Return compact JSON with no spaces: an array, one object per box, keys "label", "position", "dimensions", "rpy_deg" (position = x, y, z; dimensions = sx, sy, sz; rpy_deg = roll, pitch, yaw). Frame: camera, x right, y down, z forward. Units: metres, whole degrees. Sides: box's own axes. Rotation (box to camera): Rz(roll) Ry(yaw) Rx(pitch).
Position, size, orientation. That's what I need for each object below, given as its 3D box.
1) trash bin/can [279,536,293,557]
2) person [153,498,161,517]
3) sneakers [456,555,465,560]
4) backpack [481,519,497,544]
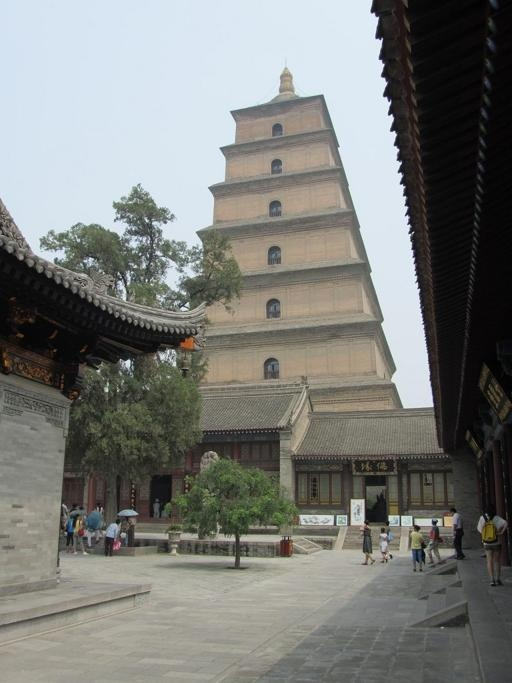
[{"label":"trash bin/can","position":[0.982,6.996,19.165],"dimensions":[0.421,0.520,0.471],"rpy_deg":[2,-17,-4]},{"label":"person","position":[-5.075,8.584,29.161],"dimensions":[0.381,0.968,0.880],"rpy_deg":[4,-17,-8]},{"label":"sneakers","position":[4.916,5.237,13.703],"dimensions":[0.186,0.084,0.491],"rpy_deg":[-5,-18,17]},{"label":"backpack","position":[3.408,2.790,8.308],"dimensions":[0.224,0.340,0.189],"rpy_deg":[-21,-63,29]}]
